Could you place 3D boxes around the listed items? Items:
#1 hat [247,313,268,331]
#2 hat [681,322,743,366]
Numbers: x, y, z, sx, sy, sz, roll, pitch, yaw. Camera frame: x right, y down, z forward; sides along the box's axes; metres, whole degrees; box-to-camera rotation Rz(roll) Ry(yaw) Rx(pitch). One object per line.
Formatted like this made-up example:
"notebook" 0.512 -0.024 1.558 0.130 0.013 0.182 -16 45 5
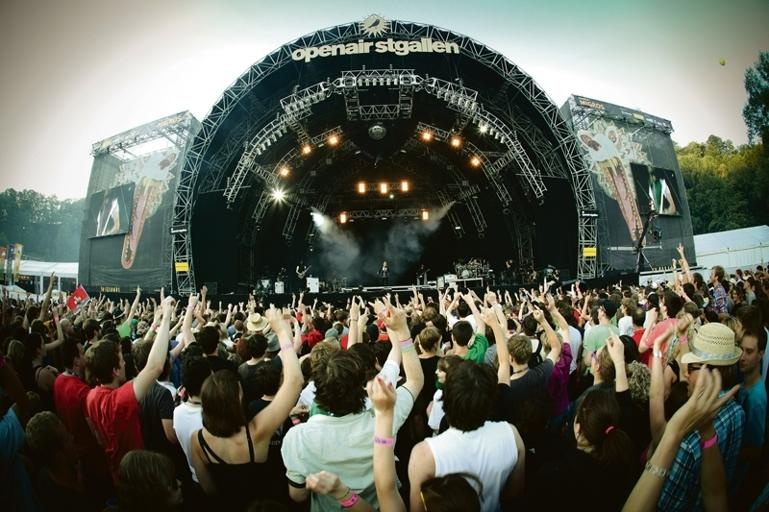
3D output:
"hat" -2.504 1.318 10.626 0.360 0.417 0.158 4 -35 26
"hat" 4.688 1.274 7.831 0.693 0.426 0.601 0 -8 -3
